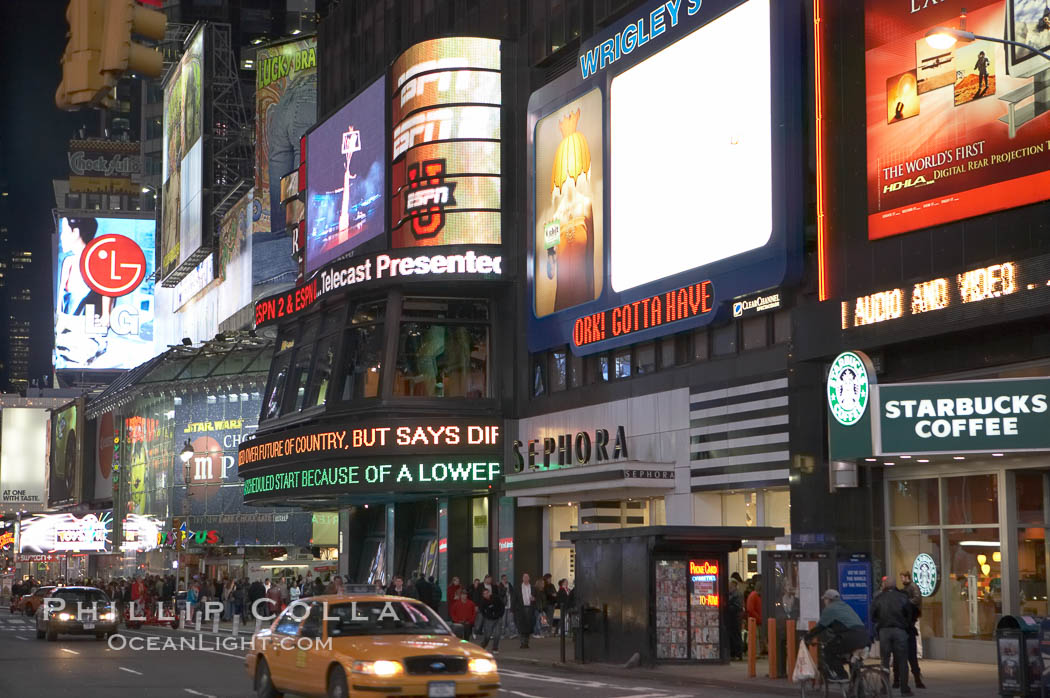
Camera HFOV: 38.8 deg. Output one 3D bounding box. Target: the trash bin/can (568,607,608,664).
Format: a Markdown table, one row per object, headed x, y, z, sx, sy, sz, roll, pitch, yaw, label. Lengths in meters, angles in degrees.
| x | y | z | sx | sy | sz | roll | pitch | yaw | label |
| --- | --- | --- | --- | --- | --- | --- | --- | --- | --- |
| 1.933 | 7.798 | 40.892 | 0.755 | 1.083 | 0.739 | 11 | -12 | -29 | trash bin/can |

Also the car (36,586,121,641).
| x | y | z | sx | sy | sz | roll | pitch | yaw | label |
| --- | --- | --- | --- | --- | --- | --- | --- | --- | --- |
| -15.443 | 8.938 | 51.252 | 1.586 | 1.282 | 2.855 | 5 | -20 | -18 | car |
